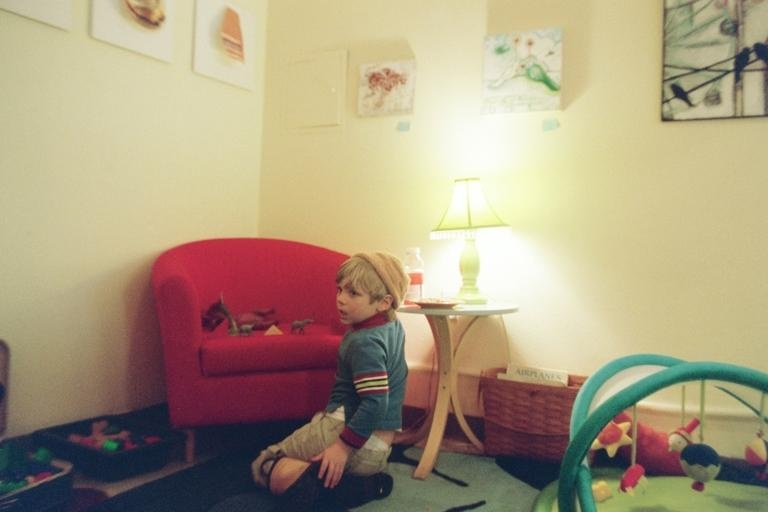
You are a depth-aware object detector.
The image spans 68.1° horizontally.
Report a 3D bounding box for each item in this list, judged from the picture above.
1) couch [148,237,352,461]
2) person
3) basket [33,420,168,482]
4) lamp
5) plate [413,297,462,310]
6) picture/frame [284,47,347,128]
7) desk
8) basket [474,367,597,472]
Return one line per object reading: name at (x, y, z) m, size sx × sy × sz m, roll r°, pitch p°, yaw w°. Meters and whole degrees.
couch at (-0.634, 0.347, 3.048) m, size 1.085 × 0.892 × 0.885 m, roll 1°, pitch 1°, yaw -19°
person at (-0.241, 0.529, 2.561) m, size 0.763 × 1.027 × 0.652 m, roll 0°, pitch 0°, yaw -22°
basket at (-1.282, 0.879, 2.613) m, size 0.328 × 0.087 × 0.332 m, roll 3°, pitch -7°, yaw 27°
lamp at (0.463, -0.090, 3.028) m, size 0.403 × 0.651 × 0.417 m, roll 2°, pitch 7°, yaw 10°
plate at (0.238, 0.224, 2.750) m, size 0.241 × 0.040 × 0.200 m, roll 2°, pitch 7°, yaw 9°
picture/frame at (-0.410, -1.053, 3.553) m, size 0.543 × 0.544 × 0.058 m, roll 1°, pitch -1°, yaw 19°
desk at (0.302, 0.609, 2.872) m, size 0.677 × 0.757 × 0.646 m, roll 4°, pitch 3°, yaw 14°
basket at (0.706, 0.778, 2.757) m, size 0.607 × 0.428 × 0.370 m, roll -1°, pitch -10°, yaw 21°
